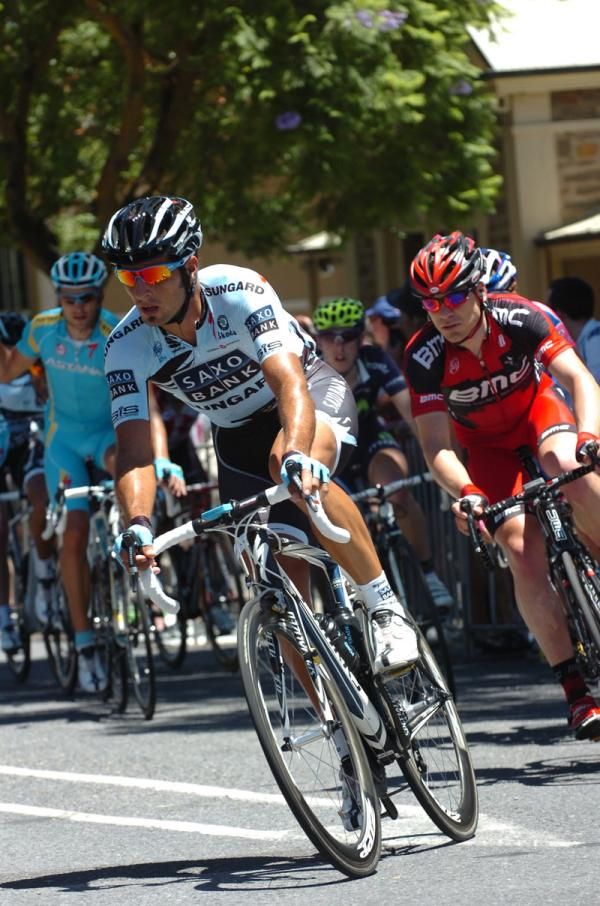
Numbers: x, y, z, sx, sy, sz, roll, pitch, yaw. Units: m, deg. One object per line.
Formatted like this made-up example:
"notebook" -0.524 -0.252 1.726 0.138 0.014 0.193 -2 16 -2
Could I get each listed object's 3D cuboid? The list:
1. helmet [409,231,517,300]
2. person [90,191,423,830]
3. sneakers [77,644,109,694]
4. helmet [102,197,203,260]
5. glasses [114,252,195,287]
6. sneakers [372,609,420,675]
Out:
"helmet" 0.580 -0.697 3.849 0.265 0.192 0.402 -6 0 26
"person" -0.114 0.079 2.979 0.804 1.782 1.325 -7 1 -8
"sneakers" -1.287 1.355 6.497 0.171 0.347 0.144 -12 10 3
"helmet" -0.391 -0.601 2.894 0.202 0.108 0.263 4 28 17
"glasses" -0.398 -0.498 2.881 0.218 0.090 0.170 -6 0 -6
"sneakers" 0.271 0.508 2.870 0.097 0.177 0.200 -7 0 35
